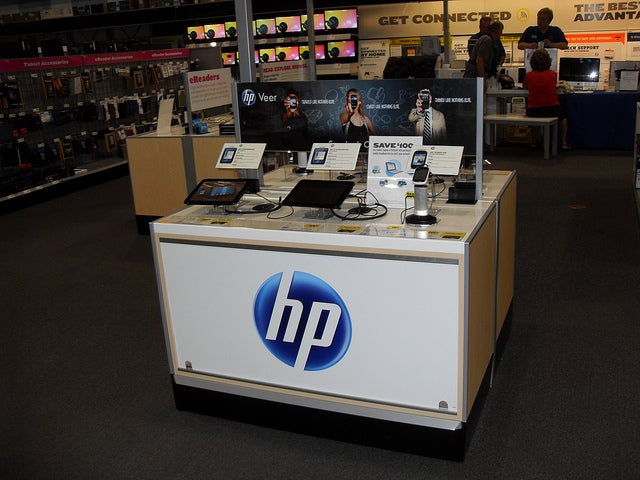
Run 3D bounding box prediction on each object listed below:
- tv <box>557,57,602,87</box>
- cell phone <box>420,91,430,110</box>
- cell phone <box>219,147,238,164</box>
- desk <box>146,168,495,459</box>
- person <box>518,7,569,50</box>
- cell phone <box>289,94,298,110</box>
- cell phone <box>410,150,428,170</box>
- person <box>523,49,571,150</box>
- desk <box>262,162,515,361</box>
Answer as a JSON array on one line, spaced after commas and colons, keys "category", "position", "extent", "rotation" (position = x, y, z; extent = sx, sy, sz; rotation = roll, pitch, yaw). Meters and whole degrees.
[{"category": "tv", "position": [4.920, -3.170, 9.507], "extent": [0.740, 0.533, 0.204], "rotation": [12, 34, 27]}, {"category": "cell phone", "position": [0.647, -0.851, 3.060], "extent": [0.065, 0.113, 0.017], "rotation": [9, 22, 30]}, {"category": "cell phone", "position": [-0.600, -0.547, 3.285], "extent": [0.117, 0.016, 0.154], "rotation": [4, 65, 16]}, {"category": "desk", "position": [0.271, 0.078, 3.317], "extent": [1.561, 1.048, 1.637], "rotation": [3, 18, 20]}, {"category": "person", "position": [4.139, -3.903, 9.290], "extent": [0.805, 0.703, 0.688], "rotation": [3, 20, 16]}, {"category": "cell phone", "position": [-0.189, -0.935, 3.428], "extent": [0.068, 0.101, 0.035], "rotation": [2, 9, 16]}, {"category": "cell phone", "position": [0.580, -0.460, 2.910], "extent": [0.097, 0.148, 0.015], "rotation": [11, -10, 24]}, {"category": "person", "position": [3.984, -2.428, 8.709], "extent": [0.768, 1.655, 0.452], "rotation": [-6, 19, -10]}, {"category": "desk", "position": [0.647, -0.159, 3.104], "extent": [1.282, 1.007, 1.355], "rotation": [5, 16, 25]}]
